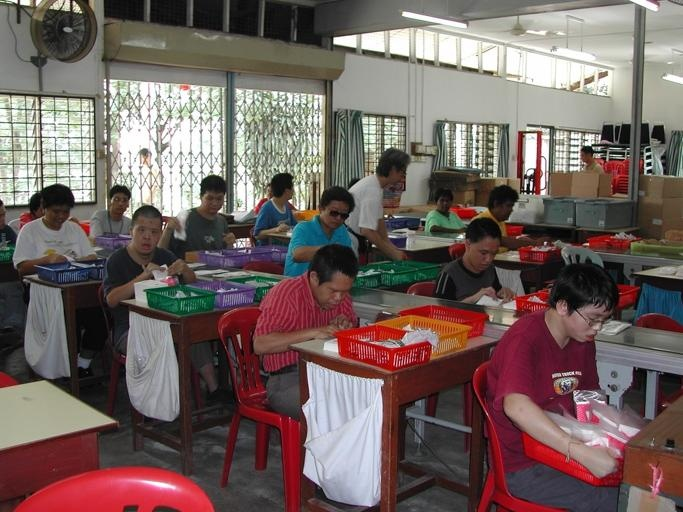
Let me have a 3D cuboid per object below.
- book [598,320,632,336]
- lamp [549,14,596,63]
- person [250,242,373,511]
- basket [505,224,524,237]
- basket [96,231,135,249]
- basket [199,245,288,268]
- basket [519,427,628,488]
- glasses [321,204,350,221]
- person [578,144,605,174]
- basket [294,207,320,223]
[{"bbox_3d":[1.328,0.354,2.638,0.129,0.019,0.146,5,19,46],"label":"book"},{"bbox_3d":[4.840,-4.587,11.314,0.307,0.902,1.710,-6,10,10],"label":"lamp"},{"bbox_3d":[-0.181,0.370,2.631,0.518,0.874,0.500,1,9,0],"label":"person"},{"bbox_3d":[2.038,-0.304,6.398,0.245,0.097,0.292,-8,12,-42],"label":"basket"},{"bbox_3d":[-2.164,-0.142,5.124,0.230,0.107,0.332,1,1,29],"label":"basket"},{"bbox_3d":[-0.879,0.002,4.896,0.277,0.097,0.576,5,8,39],"label":"basket"},{"bbox_3d":[0.761,0.692,1.817,0.315,0.170,0.163,5,10,25],"label":"basket"},{"bbox_3d":[-0.053,-0.321,3.818,0.126,0.042,0.129,6,10,-22],"label":"glasses"},{"bbox_3d":[4.516,-1.759,9.783,0.339,0.473,1.752,5,10,24],"label":"person"},{"bbox_3d":[-0.502,-0.576,7.530,0.396,0.193,0.535,-1,-2,6],"label":"basket"}]
